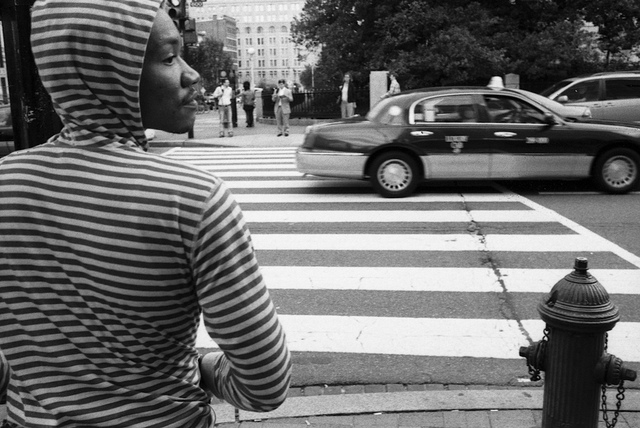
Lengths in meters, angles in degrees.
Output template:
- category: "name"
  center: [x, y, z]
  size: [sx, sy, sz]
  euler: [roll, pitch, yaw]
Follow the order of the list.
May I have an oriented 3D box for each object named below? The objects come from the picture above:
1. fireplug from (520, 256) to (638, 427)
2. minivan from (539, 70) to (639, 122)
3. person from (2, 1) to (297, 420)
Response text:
- category: "fireplug"
  center: [1.491, 0.772, 4.468]
  size: [0.629, 1.081, 0.286]
  euler: [1, 16, 12]
- category: "minivan"
  center: [6.483, -2.780, 18.175]
  size: [2.415, 0.744, 1.037]
  euler: [3, 11, 21]
- category: "person"
  center: [-0.689, 0.022, 2.763]
  size: [1.097, 1.538, 0.435]
  euler: [-3, 16, -3]
